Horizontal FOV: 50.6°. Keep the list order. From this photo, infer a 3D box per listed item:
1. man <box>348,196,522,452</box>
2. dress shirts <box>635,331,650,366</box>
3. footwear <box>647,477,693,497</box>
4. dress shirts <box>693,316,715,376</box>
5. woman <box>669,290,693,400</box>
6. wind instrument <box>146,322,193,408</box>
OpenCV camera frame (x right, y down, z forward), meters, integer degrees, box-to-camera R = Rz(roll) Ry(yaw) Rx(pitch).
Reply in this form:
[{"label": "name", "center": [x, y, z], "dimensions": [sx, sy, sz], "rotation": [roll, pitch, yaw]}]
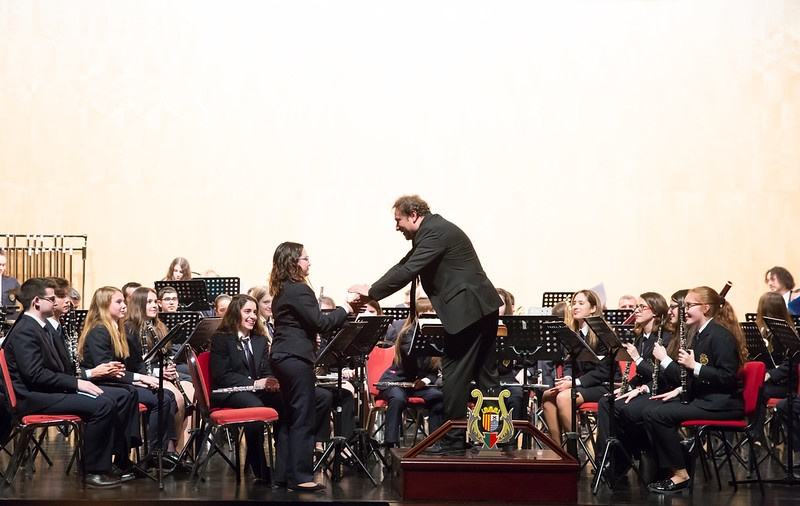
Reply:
[{"label": "man", "center": [0.441, 0.504, 8.393], "dimensions": [1.239, 2.142, 0.611], "rotation": [4, -19, -12]}, {"label": "dress shirts", "center": [2.740, 1.057, 9.568], "dimensions": [0.103, 0.317, 0.213], "rotation": [3, 0, 7]}, {"label": "footwear", "center": [2.765, 2.420, 8.763], "dimensions": [0.438, 0.179, 0.182], "rotation": [4, -7, 0]}, {"label": "dress shirts", "center": [3.121, 0.978, 8.819], "dimensions": [0.342, 0.510, 0.172], "rotation": [5, 6, 38]}, {"label": "woman", "center": [2.963, 0.906, 9.017], "dimensions": [0.198, 1.273, 0.210], "rotation": [-1, -1, 31]}, {"label": "wind instrument", "center": [-2.525, 1.238, 9.334], "dimensions": [0.457, 1.106, 0.878], "rotation": [3, -4, 1]}]
